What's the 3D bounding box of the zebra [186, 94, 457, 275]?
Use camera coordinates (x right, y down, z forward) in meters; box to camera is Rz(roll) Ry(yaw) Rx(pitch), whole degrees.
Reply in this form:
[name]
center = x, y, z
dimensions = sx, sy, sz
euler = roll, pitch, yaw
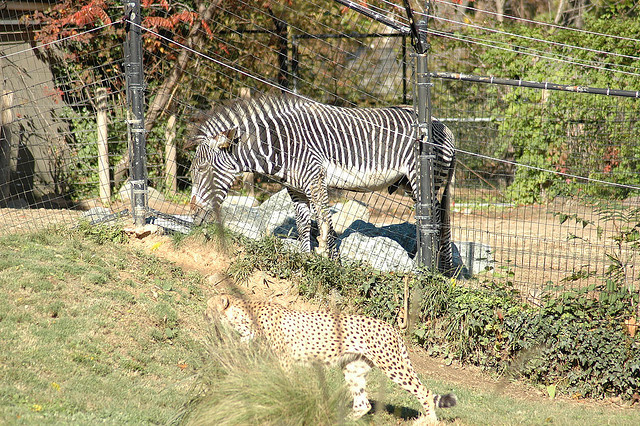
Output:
[zebra]
center = 0.173, -0.566, 17.400
dimensions = 4.681, 3.545, 1.458
euler = -3, 21, -7
